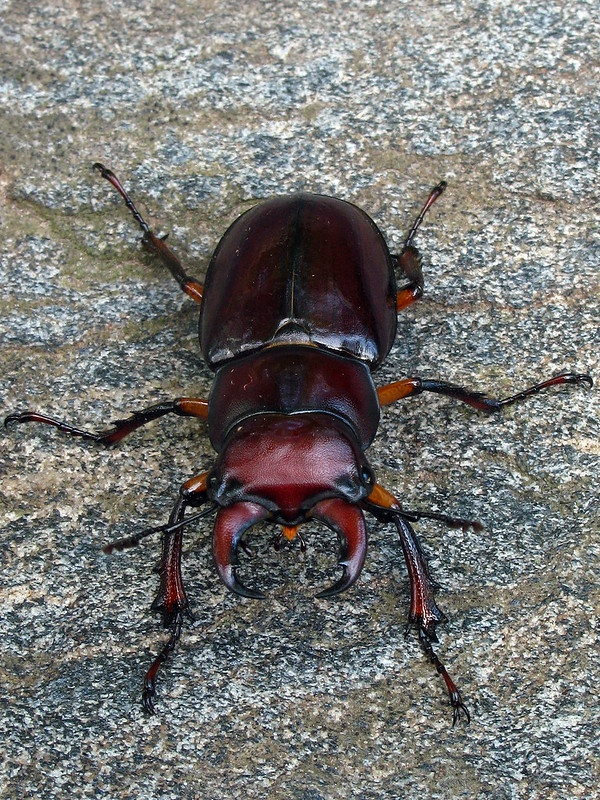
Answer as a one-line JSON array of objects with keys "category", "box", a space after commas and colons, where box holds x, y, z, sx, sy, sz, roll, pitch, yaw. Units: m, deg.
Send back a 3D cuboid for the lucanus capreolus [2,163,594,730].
[{"category": "lucanus capreolus", "box": [0.033, 0.105, 3.261, 1.524, 1.400, 2.806, 3, 65, 1]}]
